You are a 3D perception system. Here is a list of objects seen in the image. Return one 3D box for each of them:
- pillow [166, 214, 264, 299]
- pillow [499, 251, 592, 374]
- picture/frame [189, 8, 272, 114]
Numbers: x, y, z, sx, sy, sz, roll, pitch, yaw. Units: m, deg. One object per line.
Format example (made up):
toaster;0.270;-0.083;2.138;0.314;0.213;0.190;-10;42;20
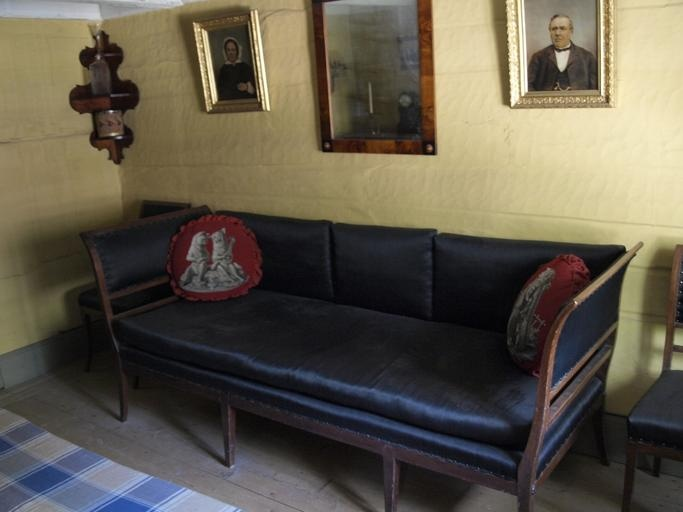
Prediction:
pillow;-0.800;-0.009;3.620;0.710;0.545;0.104;-2;4;-41
pillow;0.922;0.249;2.601;0.276;0.472;0.383;12;24;38
picture/frame;-0.703;-1.225;3.774;0.549;0.602;0.144;9;25;34
